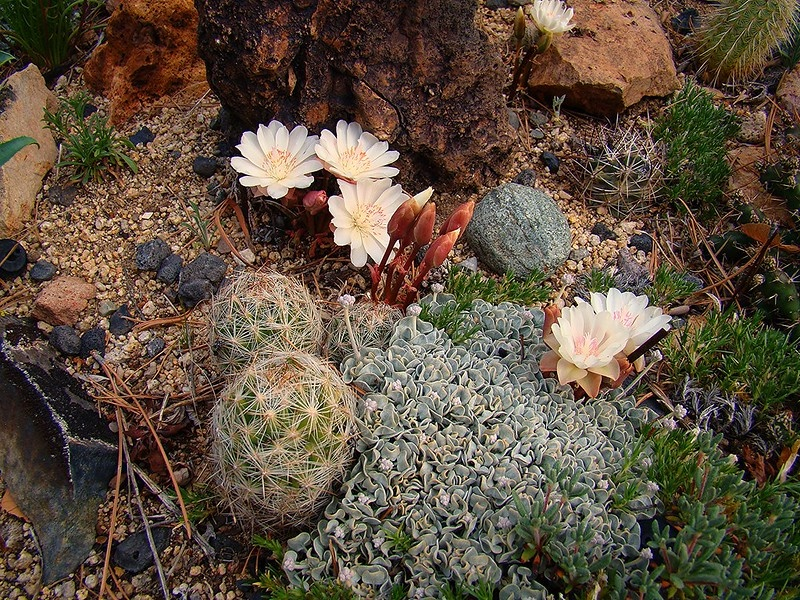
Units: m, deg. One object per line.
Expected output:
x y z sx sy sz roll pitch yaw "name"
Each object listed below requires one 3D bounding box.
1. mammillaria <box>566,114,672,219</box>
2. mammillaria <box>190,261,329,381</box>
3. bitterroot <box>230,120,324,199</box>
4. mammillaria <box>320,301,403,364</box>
1.529 -0.885 4.448 0.630 0.642 0.645 -34 98 3 "mammillaria"
-0.713 0.064 3.277 0.513 0.522 0.579 1 101 15 "mammillaria"
-0.672 -0.792 3.456 0.487 0.114 0.427 19 67 -1 "bitterroot"
-0.207 0.168 3.253 0.271 0.392 0.239 2 89 1 "mammillaria"
